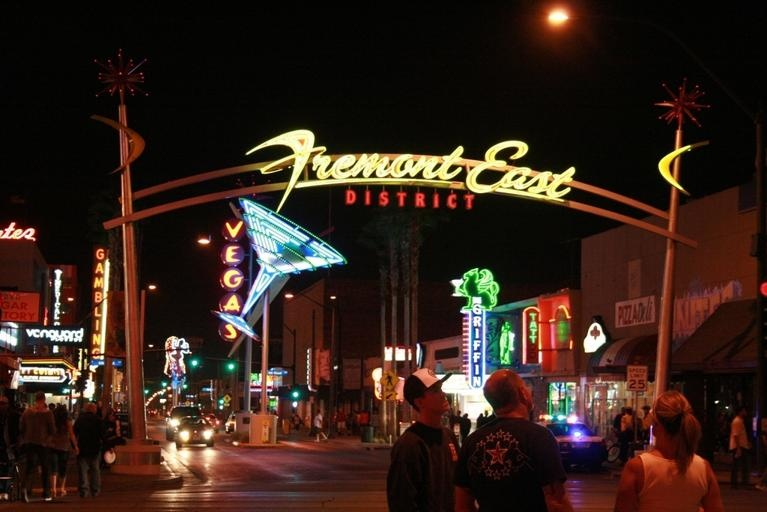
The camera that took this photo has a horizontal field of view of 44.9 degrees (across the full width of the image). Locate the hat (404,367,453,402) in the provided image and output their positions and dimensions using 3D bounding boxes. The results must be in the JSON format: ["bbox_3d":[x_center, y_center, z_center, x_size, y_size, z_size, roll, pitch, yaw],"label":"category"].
[{"bbox_3d":[0.606,1.847,13.311,0.631,0.318,0.403,-35,-1,4],"label":"hat"}]

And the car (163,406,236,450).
[{"bbox_3d":[-10.291,9.114,49.648,1.715,2.343,3.133,6,-17,-26],"label":"car"}]

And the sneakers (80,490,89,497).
[{"bbox_3d":[-8.086,6.442,25.144,0.180,0.152,0.255,1,-8,-16],"label":"sneakers"}]

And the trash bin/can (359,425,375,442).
[{"bbox_3d":[-0.853,9.701,50.435,0.757,0.870,0.558,-10,-17,30],"label":"trash bin/can"}]
